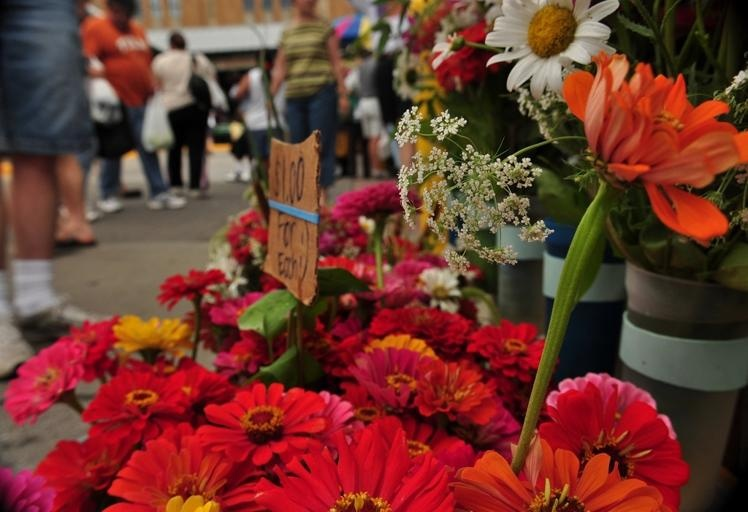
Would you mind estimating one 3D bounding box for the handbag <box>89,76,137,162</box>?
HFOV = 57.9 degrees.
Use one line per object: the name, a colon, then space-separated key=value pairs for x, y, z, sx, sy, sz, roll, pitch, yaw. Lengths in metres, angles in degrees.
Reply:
handbag: x=-0.376 y=-0.205 z=0.978 sx=0.055 sy=0.095 sz=0.090 roll=-15 pitch=41 yaw=-21
